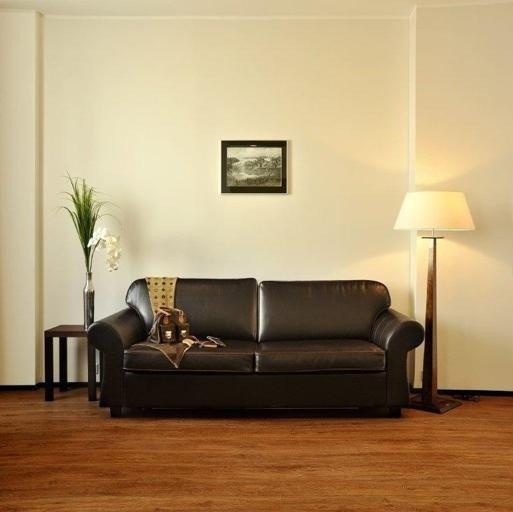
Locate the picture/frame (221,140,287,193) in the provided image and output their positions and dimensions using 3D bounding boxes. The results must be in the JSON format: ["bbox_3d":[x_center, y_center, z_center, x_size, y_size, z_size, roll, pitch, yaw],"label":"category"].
[{"bbox_3d":[-0.039,-0.729,4.414,0.375,0.335,0.015,0,3,0],"label":"picture/frame"}]

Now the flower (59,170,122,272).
[{"bbox_3d":[-1.262,-0.241,4.276,0.383,0.772,0.571,-3,6,-25],"label":"flower"}]

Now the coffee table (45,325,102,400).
[{"bbox_3d":[-1.388,0.775,4.200,0.311,0.459,0.414,-8,-7,-8],"label":"coffee table"}]

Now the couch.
[{"bbox_3d":[0.046,0.634,3.935,2.104,0.844,0.718,0,6,0],"label":"couch"}]
